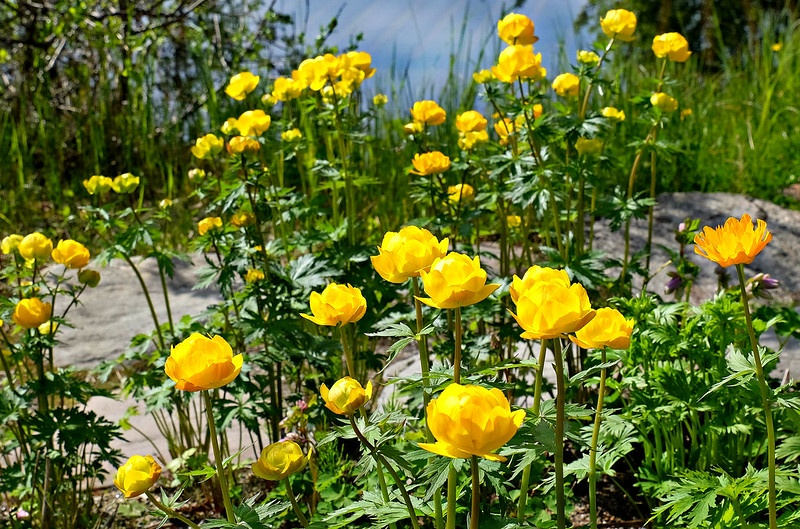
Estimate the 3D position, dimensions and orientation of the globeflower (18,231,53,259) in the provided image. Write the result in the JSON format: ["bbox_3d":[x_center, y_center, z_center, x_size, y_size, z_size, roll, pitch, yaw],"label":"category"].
[{"bbox_3d":[-2.286,-0.121,5.929,0.175,0.189,0.150,-7,-4,39],"label":"globeflower"}]

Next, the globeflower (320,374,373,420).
[{"bbox_3d":[-0.298,0.749,5.278,0.245,0.242,0.190,-14,20,-30],"label":"globeflower"}]

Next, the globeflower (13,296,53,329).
[{"bbox_3d":[-2.264,0.294,5.802,0.167,0.151,0.201,-18,27,-25],"label":"globeflower"}]

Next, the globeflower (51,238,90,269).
[{"bbox_3d":[-2.086,-0.079,5.985,0.184,0.144,0.200,30,21,16],"label":"globeflower"}]

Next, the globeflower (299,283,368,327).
[{"bbox_3d":[-0.392,0.257,5.376,0.390,0.246,0.352,2,15,13],"label":"globeflower"}]

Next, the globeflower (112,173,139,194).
[{"bbox_3d":[-1.853,-0.553,6.331,0.137,0.124,0.169,-11,17,-20],"label":"globeflower"}]

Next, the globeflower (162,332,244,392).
[{"bbox_3d":[-1.127,0.486,5.244,0.318,0.269,0.341,-15,22,-37],"label":"globeflower"}]

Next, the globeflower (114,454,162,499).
[{"bbox_3d":[-1.460,1.175,5.319,0.246,0.176,0.210,-35,-3,5],"label":"globeflower"}]

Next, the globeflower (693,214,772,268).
[{"bbox_3d":[1.936,-0.160,5.364,0.297,0.185,0.343,-2,22,44],"label":"globeflower"}]

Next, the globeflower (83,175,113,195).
[{"bbox_3d":[-2.025,-0.537,6.310,0.154,0.123,0.137,7,9,38],"label":"globeflower"}]
